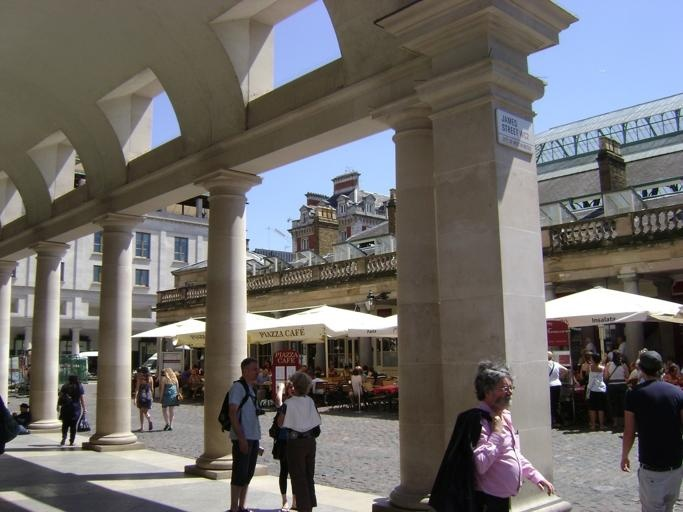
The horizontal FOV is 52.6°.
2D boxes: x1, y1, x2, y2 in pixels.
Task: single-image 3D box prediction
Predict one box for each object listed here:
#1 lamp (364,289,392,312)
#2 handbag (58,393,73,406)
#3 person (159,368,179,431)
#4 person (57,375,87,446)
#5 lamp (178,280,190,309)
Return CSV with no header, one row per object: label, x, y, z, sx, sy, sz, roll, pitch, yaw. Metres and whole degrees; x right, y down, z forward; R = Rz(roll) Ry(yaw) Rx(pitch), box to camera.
lamp,1.337,1.789,27.696,1.073,0.602,0.585,-1,-3,-38
handbag,-6.106,3.149,15.232,0.259,0.287,0.190,-14,4,-29
person,-4.810,3.947,19.257,0.497,1.716,1.555,2,-12,-13
person,-6.056,3.419,15.426,0.535,1.530,1.226,4,-13,-22
lamp,-9.604,2.335,42.006,0.351,1.332,1.239,2,-4,-29
